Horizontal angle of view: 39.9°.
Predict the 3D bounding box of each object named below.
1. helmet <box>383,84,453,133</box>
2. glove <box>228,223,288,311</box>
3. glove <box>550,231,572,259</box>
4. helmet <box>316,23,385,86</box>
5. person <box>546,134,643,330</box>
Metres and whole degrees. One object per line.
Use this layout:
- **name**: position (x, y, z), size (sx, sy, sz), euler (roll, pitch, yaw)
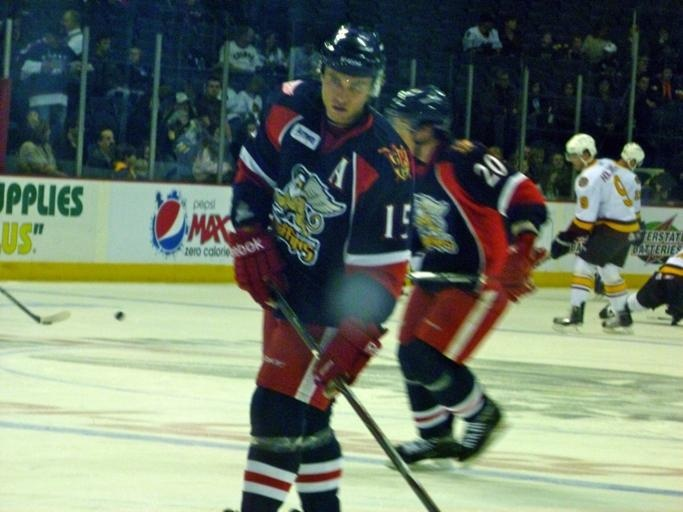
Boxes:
- **helmet**: position (0.455, -0.792, 5.127), size (0.263, 0.312, 0.227), euler (1, -9, 16)
- **glove**: position (-0.332, 0.025, 3.789), size (0.193, 0.344, 0.102), euler (-27, -5, 30)
- **glove**: position (2.020, -0.083, 8.623), size (0.183, 0.255, 0.541), euler (5, 6, 14)
- **helmet**: position (0.066, -0.782, 3.787), size (0.250, 0.201, 0.203), euler (-5, 40, -32)
- **person**: position (2.413, -0.200, 8.888), size (0.687, 1.861, 1.343), euler (7, 6, 30)
